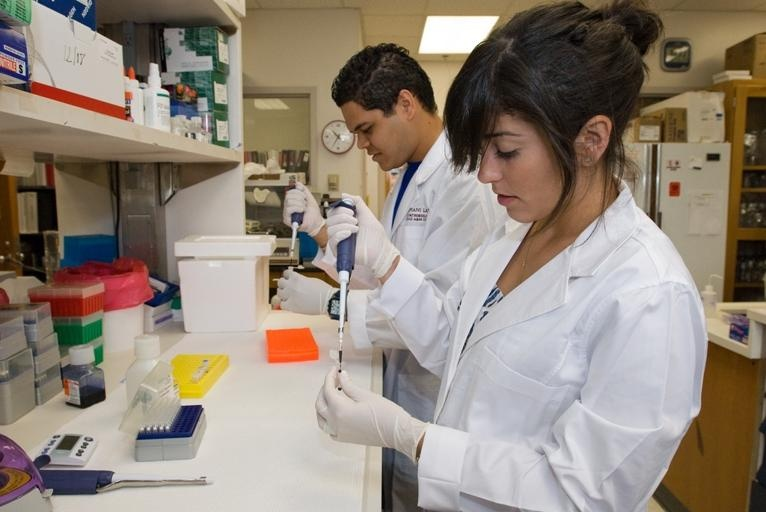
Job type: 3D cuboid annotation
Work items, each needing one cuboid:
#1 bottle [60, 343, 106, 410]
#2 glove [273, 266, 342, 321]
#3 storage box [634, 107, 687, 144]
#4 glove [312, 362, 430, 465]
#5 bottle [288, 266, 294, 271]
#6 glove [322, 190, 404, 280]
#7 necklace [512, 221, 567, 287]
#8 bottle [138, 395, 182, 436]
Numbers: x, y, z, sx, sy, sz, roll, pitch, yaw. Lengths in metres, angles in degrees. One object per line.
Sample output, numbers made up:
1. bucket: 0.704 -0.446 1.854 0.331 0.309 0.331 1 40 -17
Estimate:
1. bottle: -0.928 0.370 1.818 0.114 0.194 0.061 -5 8 -27
2. glove: -0.322 0.162 2.387 0.289 0.160 0.119 22 -4 18
3. storage box: 2.346 -1.078 4.962 0.469 0.353 0.265 1 4 16
4. glove: -0.031 0.438 1.659 0.281 0.102 0.224 12 44 -2
5. bottle: -0.415 0.058 2.630 0.020 0.027 0.022 -1 18 0
6. glove: -0.075 -0.068 2.105 0.274 0.292 0.077 -9 0 -3
7. necklace: 0.449 -0.014 1.749 0.061 0.172 0.166 29 2 -20
8. bottle: -0.630 0.450 1.660 0.068 0.025 0.100 -2 18 -3
